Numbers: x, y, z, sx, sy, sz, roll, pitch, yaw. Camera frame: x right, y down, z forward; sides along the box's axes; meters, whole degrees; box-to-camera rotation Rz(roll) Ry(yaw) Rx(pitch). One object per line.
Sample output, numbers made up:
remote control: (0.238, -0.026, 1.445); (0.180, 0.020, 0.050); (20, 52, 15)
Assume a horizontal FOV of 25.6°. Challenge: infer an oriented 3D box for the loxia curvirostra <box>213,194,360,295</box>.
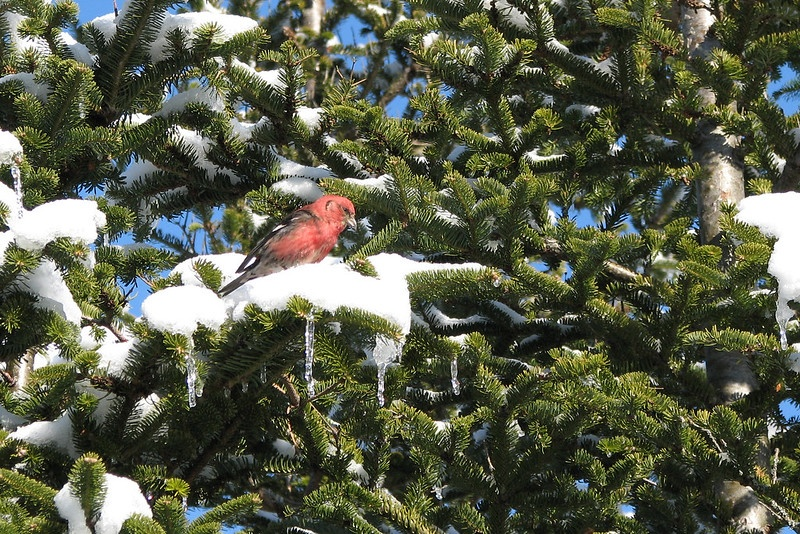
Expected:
loxia curvirostra: (-0.761, -0.153, 11.813); (1.040, 0.489, 0.384); (-13, -26, 14)
